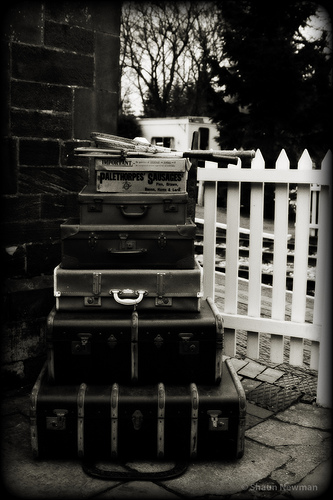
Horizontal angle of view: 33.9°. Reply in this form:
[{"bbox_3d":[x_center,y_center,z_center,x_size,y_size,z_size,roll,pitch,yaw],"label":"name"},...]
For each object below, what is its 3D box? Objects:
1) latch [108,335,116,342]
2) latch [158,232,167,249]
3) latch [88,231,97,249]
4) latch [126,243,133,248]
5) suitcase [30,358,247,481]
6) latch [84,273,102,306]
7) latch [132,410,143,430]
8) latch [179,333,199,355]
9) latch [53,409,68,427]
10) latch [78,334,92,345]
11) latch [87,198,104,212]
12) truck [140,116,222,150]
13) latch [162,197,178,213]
[{"bbox_3d":[-0.291,0.465,2.894,0.028,0.038,0.009,2,-4,0],"label":"latch"},{"bbox_3d":[-0.027,-0.053,3.096,0.042,0.089,0.018,1,9,-4],"label":"latch"},{"bbox_3d":[-0.418,-0.056,3.070,0.049,0.094,0.026,0,9,-10],"label":"latch"},{"bbox_3d":[-0.213,-0.024,3.086,0.019,0.025,0.007,1,-4,-1],"label":"latch"},{"bbox_3d":[-0.150,0.893,2.870,1.117,0.466,0.441,1,10,-2],"label":"suitcase"},{"bbox_3d":[-0.395,0.222,3.017,0.129,0.235,0.118,1,4,-8],"label":"latch"},{"bbox_3d":[-0.151,0.864,2.796,0.056,0.096,0.013,0,9,-7],"label":"latch"},{"bbox_3d":[0.115,0.510,2.935,0.091,0.119,0.065,1,6,6],"label":"latch"},{"bbox_3d":[-0.543,0.858,2.798,0.054,0.078,0.070,-1,1,-2],"label":"latch"},{"bbox_3d":[-0.431,0.464,2.882,0.062,0.070,0.044,1,-3,-5],"label":"latch"},{"bbox_3d":[-0.399,-0.248,3.109,0.074,0.092,0.068,2,11,-7],"label":"latch"},{"bbox_3d":[0.507,-5.565,25.956,3.556,1.552,2.946,1,10,-3],"label":"truck"},{"bbox_3d":[0.017,-0.257,3.130,0.066,0.063,0.075,2,7,1],"label":"latch"}]
